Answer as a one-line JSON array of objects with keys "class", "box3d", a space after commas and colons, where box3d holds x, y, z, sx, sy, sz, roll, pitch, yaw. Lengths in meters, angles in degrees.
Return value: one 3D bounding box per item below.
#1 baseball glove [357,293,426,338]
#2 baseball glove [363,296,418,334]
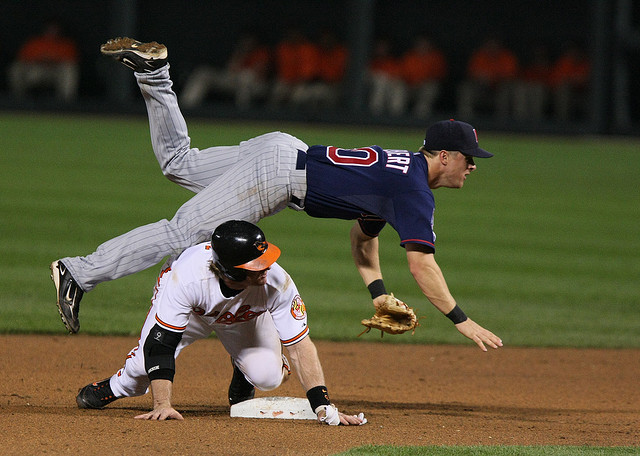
[{"class": "baseball glove", "box3d": [0.760, 0.938, 11.580, 0.580, 0.436, 0.304, 5, 11, 4]}, {"class": "baseball glove", "box3d": [0.795, 0.883, 11.656, 0.642, 0.469, 0.279, -16, -9, 39]}]
